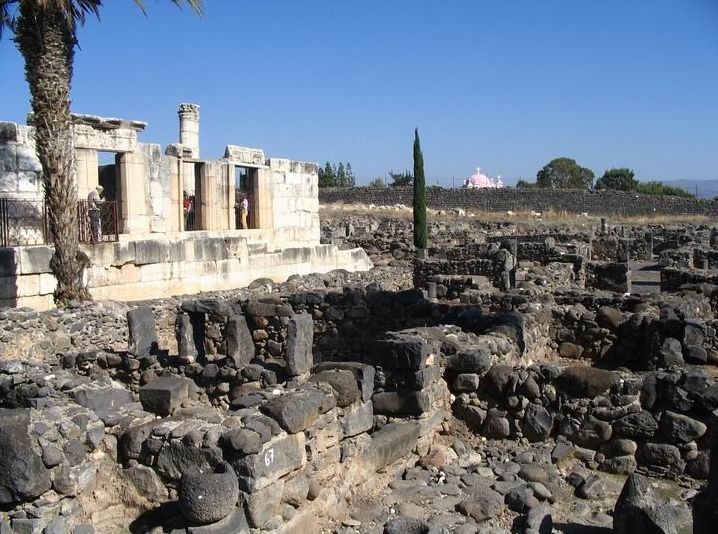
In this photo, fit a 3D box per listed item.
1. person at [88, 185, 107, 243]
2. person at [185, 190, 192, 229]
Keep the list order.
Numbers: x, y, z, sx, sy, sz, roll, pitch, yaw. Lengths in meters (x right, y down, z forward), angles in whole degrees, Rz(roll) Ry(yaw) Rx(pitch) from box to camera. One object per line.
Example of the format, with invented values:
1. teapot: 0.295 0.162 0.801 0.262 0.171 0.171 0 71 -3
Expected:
1. person: -5.803 -1.196 13.377 0.322 1.256 1.139 -1 5 -24
2. person: -5.544 -1.828 19.730 0.231 1.095 2.559 -1 5 -16
